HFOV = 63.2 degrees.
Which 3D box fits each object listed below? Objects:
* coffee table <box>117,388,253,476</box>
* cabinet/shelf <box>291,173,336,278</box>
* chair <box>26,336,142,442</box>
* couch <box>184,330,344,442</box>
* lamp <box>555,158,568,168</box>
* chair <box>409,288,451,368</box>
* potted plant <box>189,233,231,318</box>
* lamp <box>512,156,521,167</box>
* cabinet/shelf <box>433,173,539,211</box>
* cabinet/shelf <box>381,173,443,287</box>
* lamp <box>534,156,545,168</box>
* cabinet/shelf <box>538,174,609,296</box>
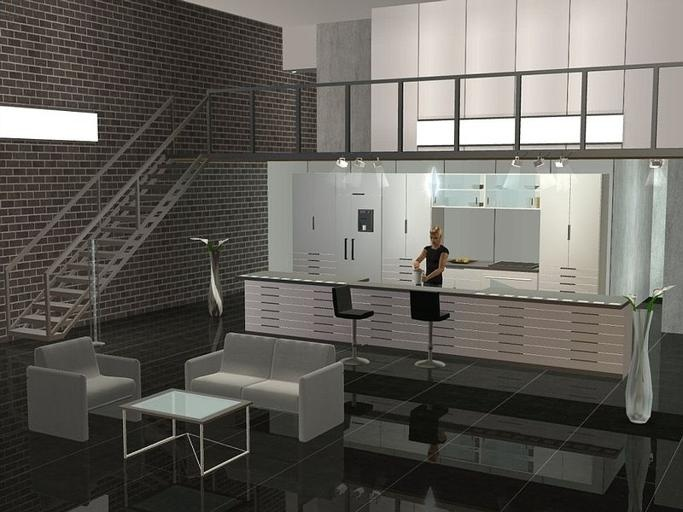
[{"bbox_3d":[-1.561,1.788,5.730,0.919,0.573,1.185,6,-3,9],"label":"coffee table"},{"bbox_3d":[-0.603,-0.749,12.958,1.145,2.545,0.933,4,28,5],"label":"cabinet/shelf"},{"bbox_3d":[-2.982,1.483,6.408,0.891,0.883,0.953,3,2,20],"label":"chair"},{"bbox_3d":[-0.933,1.477,6.524,1.725,0.894,0.848,1,2,29],"label":"couch"},{"bbox_3d":[3.056,-1.277,7.678,0.149,0.147,0.205,2,7,20],"label":"lamp"},{"bbox_3d":[1.284,1.033,8.057,0.536,1.169,0.668,2,8,17],"label":"chair"},{"bbox_3d":[-2.845,0.321,12.042,0.865,1.552,2.278,-2,8,-12],"label":"potted plant"},{"bbox_3d":[2.527,-1.356,7.976,0.107,0.198,0.059,10,-30,26],"label":"lamp"},{"bbox_3d":[2.753,-1.220,10.603,1.924,0.633,0.329,2,0,17],"label":"cabinet/shelf"},{"bbox_3d":[1.373,-0.604,11.639,1.013,2.444,0.259,1,15,10],"label":"cabinet/shelf"},{"bbox_3d":[2.891,-1.365,8.085,0.105,0.115,0.745,2,8,18],"label":"lamp"},{"bbox_3d":[4.334,-0.353,10.477,1.064,2.397,0.769,1,10,23],"label":"cabinet/shelf"}]
